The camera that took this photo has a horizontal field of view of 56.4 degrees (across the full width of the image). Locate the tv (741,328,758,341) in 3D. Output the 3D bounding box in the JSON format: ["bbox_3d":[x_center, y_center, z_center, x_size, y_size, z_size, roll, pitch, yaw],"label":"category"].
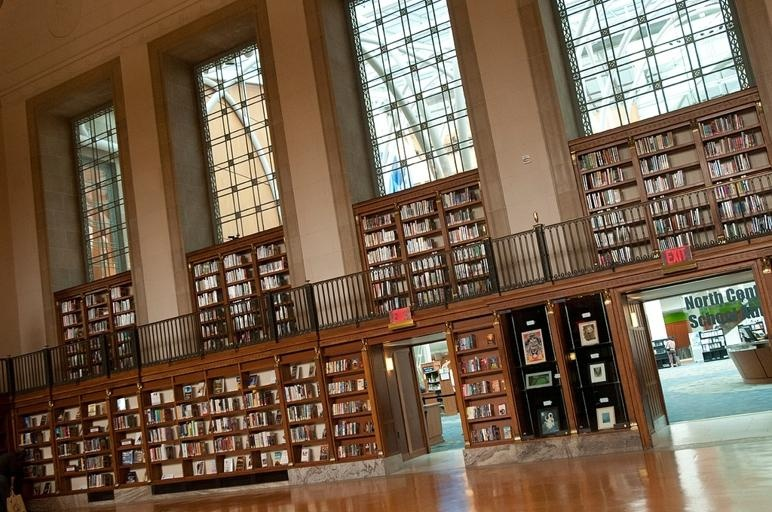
[{"bbox_3d":[9.617,2.107,19.122,0.087,0.265,0.303,3,6,-20],"label":"tv"}]
